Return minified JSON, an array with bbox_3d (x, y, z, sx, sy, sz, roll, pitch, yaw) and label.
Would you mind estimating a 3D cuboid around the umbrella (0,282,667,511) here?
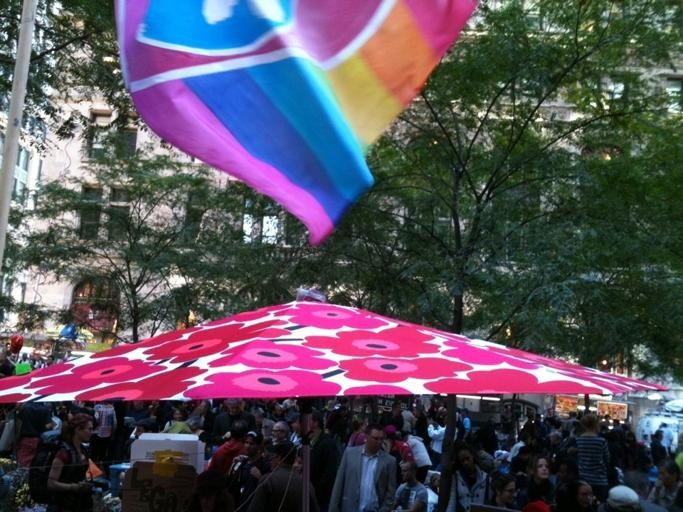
[{"bbox_3d":[-0.316,0.926,6.391,5.285,0.638,1.917,-1,5,-1],"label":"umbrella"}]
